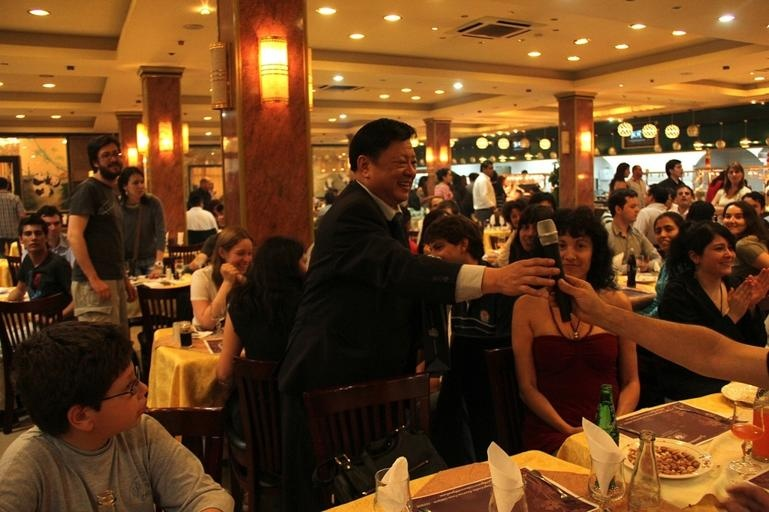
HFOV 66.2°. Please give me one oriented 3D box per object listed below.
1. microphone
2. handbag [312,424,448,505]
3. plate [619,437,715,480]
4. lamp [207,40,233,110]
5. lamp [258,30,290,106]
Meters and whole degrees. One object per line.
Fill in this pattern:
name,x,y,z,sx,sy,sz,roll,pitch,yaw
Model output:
microphone,0.645,0.010,2.230,0.119,0.518,0.127,1,0,5
handbag,-0.016,0.870,2.520,0.415,0.145,0.409,-20,2,-21
plate,1.073,0.786,2.325,0.339,0.068,0.334,-3,-2,-13
lamp,-1.477,-1.613,5.266,0.156,0.601,0.195,-2,7,-18
lamp,-0.957,-1.579,5.023,0.255,0.559,0.100,-1,6,-13
